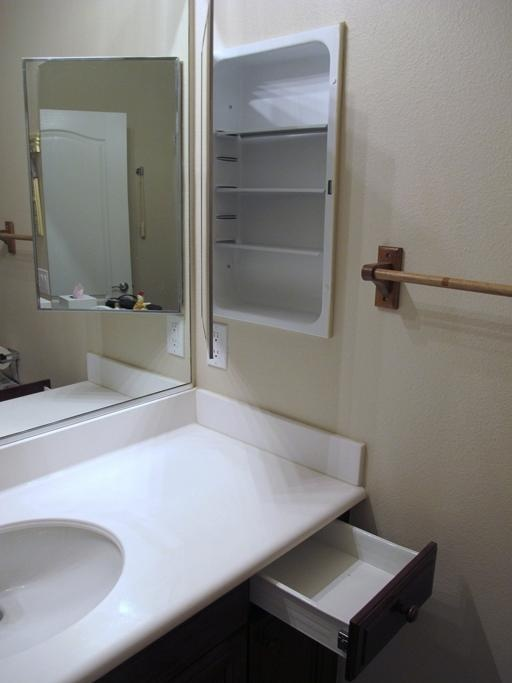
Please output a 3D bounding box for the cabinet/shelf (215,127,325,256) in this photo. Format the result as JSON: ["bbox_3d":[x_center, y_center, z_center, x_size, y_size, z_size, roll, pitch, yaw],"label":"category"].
[{"bbox_3d":[0.034,-0.380,1.247,0.355,0.301,0.155,9,11,38],"label":"cabinet/shelf"}]

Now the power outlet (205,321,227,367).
[{"bbox_3d":[-0.103,0.002,1.333,0.010,0.170,0.072,-10,16,-38],"label":"power outlet"}]
